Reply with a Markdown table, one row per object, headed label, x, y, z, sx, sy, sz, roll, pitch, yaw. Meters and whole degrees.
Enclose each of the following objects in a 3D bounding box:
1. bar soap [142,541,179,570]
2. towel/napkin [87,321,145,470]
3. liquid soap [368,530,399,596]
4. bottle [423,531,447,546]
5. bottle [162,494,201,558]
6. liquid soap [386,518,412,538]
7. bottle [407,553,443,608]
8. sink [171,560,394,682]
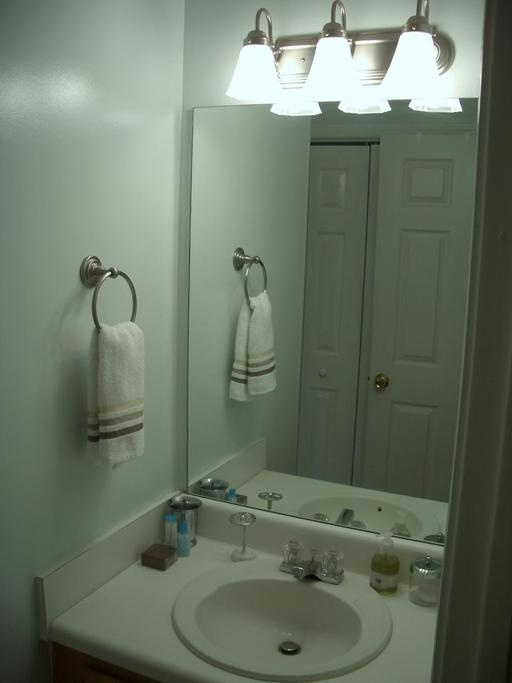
| label | x | y | z | sx | sy | sz | roll | pitch | yaw |
| --- | --- | --- | --- | --- | --- | --- | --- | --- | --- |
| bar soap | -0.232 | 0.516 | 1.414 | 0.045 | 0.022 | 0.050 | 6 | 8 | 20 |
| towel/napkin | -0.283 | 0.100 | 1.221 | 0.060 | 0.289 | 0.163 | 4 | 11 | 28 |
| liquid soap | 0.298 | 0.513 | 1.321 | 0.056 | 0.123 | 0.062 | 2 | -3 | 9 |
| bottle | 0.414 | 0.455 | 1.347 | 0.046 | 0.028 | 0.023 | 1 | 10 | 6 |
| bottle | -0.189 | 0.468 | 1.484 | 0.099 | 0.168 | 0.110 | 1 | 1 | 5 |
| liquid soap | 0.344 | 0.432 | 1.391 | 0.053 | 0.065 | 0.030 | -3 | -11 | 30 |
| bottle | 0.373 | 0.522 | 1.279 | 0.066 | 0.101 | 0.113 | 2 | 10 | 16 |
| sink | 0.051 | 0.596 | 1.189 | 0.445 | 0.103 | 0.364 | 2 | 11 | 15 |
